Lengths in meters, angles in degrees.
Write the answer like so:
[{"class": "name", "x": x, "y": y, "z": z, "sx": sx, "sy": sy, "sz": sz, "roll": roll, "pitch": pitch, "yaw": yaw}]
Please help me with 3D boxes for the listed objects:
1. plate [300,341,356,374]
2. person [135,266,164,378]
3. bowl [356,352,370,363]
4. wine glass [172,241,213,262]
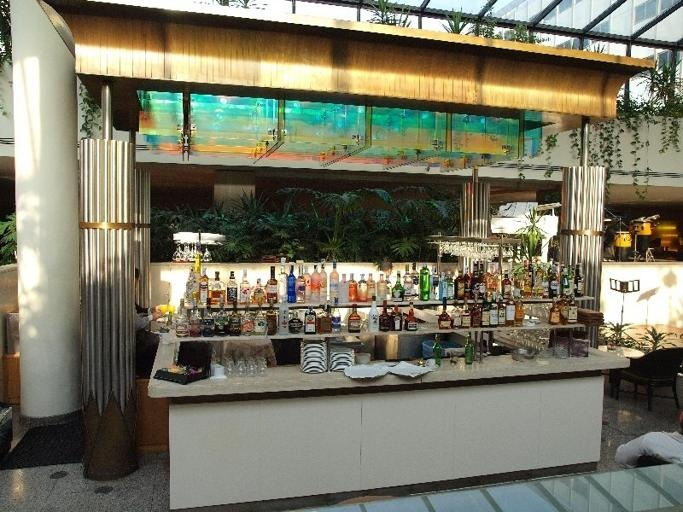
[{"class": "plate", "x": -0.134, "y": 1.005, "z": 6.405, "sx": 0.460, "sy": 0.234, "sz": 0.285, "roll": 0, "pitch": 0, "yaw": -7}, {"class": "person", "x": -2.302, "y": 0.797, "z": 7.374, "sx": 0.471, "sy": 1.230, "sz": 0.347, "roll": 2, "pitch": 6, "yaw": -6}, {"class": "bowl", "x": 0.222, "y": 1.034, "z": 6.581, "sx": 0.134, "sy": 0.069, "sz": 0.093, "roll": -2, "pitch": -4, "yaw": 3}, {"class": "wine glass", "x": -2.132, "y": -0.038, "z": 9.207, "sx": 0.386, "sy": 0.332, "sz": 0.701, "roll": 3, "pitch": 6, "yaw": 27}]
